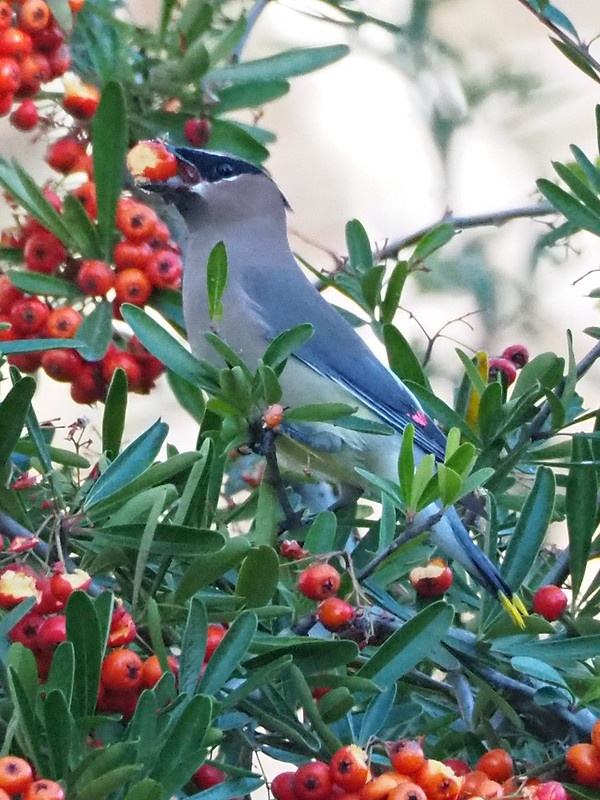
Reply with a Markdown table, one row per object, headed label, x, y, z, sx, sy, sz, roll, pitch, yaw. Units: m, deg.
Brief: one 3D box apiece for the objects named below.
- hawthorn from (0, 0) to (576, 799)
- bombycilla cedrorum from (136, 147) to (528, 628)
| label | x | y | z | sx | sy | sz | roll | pitch | yaw |
| --- | --- | --- | --- | --- | --- | --- | --- | --- | --- |
| hawthorn | -0.145 | 0.012 | 1.327 | 0.563 | 0.712 | 0.248 | -2 | -7 | -6 |
| bombycilla cedrorum | 0.056 | -0.056 | 2.162 | 0.765 | 0.632 | 0.241 | 9 | -10 | -17 |
